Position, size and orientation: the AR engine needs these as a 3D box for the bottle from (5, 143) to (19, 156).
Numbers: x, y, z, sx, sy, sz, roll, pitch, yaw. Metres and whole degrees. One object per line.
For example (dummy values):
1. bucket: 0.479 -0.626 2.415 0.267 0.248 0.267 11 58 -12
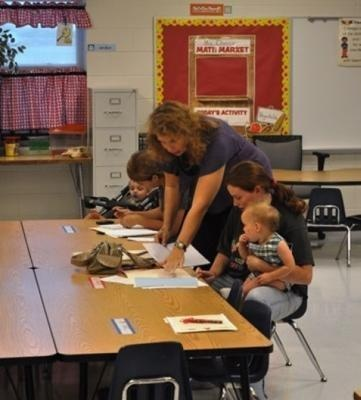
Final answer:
1. bottle: -2.199 -0.651 5.859 0.178 0.166 0.167 0 -1 -4

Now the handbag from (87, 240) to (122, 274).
1. handbag: -0.273 0.215 1.691 0.137 0.114 0.092 2 -24 8

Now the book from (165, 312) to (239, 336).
1. book: 0.051 0.315 1.157 0.175 0.017 0.137 1 8 -13
